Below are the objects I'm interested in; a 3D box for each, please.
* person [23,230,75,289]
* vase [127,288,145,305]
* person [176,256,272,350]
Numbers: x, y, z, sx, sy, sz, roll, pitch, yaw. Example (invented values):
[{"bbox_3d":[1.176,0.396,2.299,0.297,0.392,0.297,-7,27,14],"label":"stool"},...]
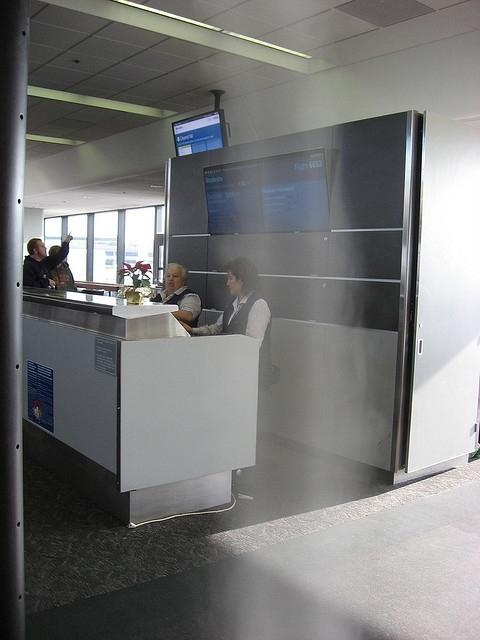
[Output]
[{"bbox_3d":[-2.418,-0.768,5.863,0.466,0.690,1.357,1,0,-16],"label":"person"},{"bbox_3d":[-0.653,-0.153,2.944,0.096,0.080,0.096,0,6,-18],"label":"vase"},{"bbox_3d":[-0.143,-0.103,4.199,0.645,1.368,0.735,2,2,-14],"label":"person"}]
